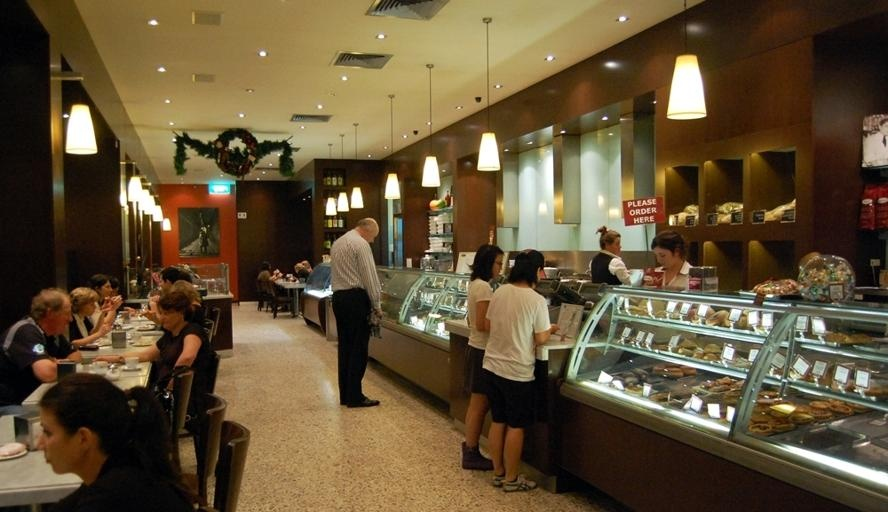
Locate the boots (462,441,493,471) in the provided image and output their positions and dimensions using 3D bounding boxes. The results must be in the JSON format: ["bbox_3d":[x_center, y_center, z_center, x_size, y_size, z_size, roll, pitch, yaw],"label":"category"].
[{"bbox_3d":[0.382,1.972,5.919,0.383,0.238,0.156,-1,-1,-9],"label":"boots"}]

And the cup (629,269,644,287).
[{"bbox_3d":[2.410,0.281,7.578,0.186,0.185,0.179,1,-5,0],"label":"cup"}]

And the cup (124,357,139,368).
[{"bbox_3d":[-2.929,1.002,5.690,0.104,0.080,0.107,0,-14,0],"label":"cup"}]

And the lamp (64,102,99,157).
[{"bbox_3d":[-3.746,-1.324,6.220,0.257,0.500,0.494,-7,10,-30],"label":"lamp"}]

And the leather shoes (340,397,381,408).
[{"bbox_3d":[-1.039,1.770,7.454,0.451,0.115,0.158,-2,-3,-8],"label":"leather shoes"}]

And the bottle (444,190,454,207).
[{"bbox_3d":[0.086,-1.212,12.872,0.137,0.304,0.291,-4,9,-11],"label":"bottle"}]

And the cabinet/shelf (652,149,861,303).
[{"bbox_3d":[3.272,-0.305,6.203,0.515,1.515,1.704,1,1,-29],"label":"cabinet/shelf"}]

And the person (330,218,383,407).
[{"bbox_3d":[-1.085,0.704,7.558,0.584,2.270,0.690,-4,9,-9],"label":"person"}]

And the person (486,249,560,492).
[{"bbox_3d":[0.668,1.054,5.572,0.596,2.146,0.487,-2,9,0],"label":"person"}]

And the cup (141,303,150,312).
[{"bbox_3d":[-4.593,0.789,9.311,0.207,0.136,0.192,2,-4,0],"label":"cup"}]

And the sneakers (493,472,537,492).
[{"bbox_3d":[0.652,2.059,5.560,0.379,0.140,0.145,0,-1,-11],"label":"sneakers"}]

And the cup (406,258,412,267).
[{"bbox_3d":[-0.749,0.143,12.969,0.096,0.187,0.206,0,1,-16],"label":"cup"}]

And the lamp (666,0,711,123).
[{"bbox_3d":[2.561,-2.122,6.314,0.409,1.399,1.846,1,9,21],"label":"lamp"}]

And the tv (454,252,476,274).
[{"bbox_3d":[0.295,0.092,8.274,0.290,0.262,0.076,5,-11,39],"label":"tv"}]

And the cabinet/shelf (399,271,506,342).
[{"bbox_3d":[0.106,0.585,6.831,0.318,0.459,0.951,15,-4,-27],"label":"cabinet/shelf"}]
